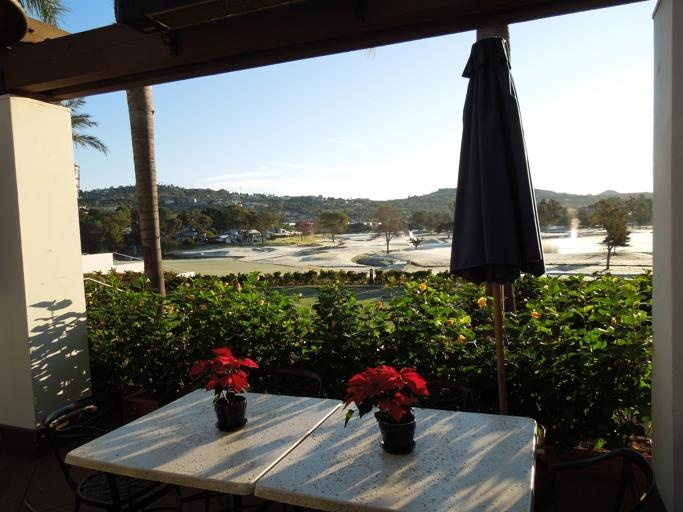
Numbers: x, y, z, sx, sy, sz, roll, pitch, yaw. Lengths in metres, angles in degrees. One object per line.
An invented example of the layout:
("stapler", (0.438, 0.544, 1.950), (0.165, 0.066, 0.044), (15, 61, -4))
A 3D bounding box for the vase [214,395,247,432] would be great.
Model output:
("vase", (-0.620, 0.865, 2.582), (0.205, 0.153, 0.195), (0, -1, 30))

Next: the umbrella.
("umbrella", (0.948, -0.165, 2.848), (0.528, 2.330, 0.325), (-1, 4, 21))

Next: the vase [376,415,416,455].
("vase", (0.283, 0.884, 2.359), (0.202, 0.134, 0.188), (-1, -4, 0))
